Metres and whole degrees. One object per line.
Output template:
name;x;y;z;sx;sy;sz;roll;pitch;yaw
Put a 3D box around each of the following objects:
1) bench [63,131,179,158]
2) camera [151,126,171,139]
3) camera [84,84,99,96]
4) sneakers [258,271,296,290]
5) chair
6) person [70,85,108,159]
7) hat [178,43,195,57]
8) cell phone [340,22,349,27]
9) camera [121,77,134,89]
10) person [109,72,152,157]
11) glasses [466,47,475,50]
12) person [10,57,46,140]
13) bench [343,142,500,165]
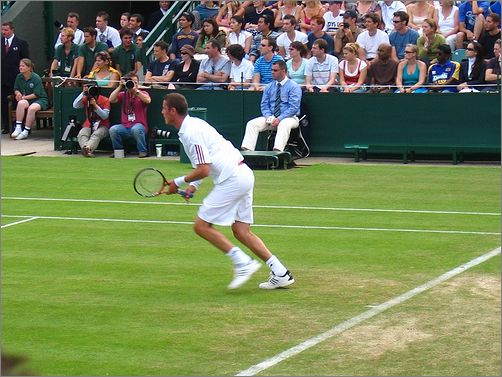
bench;-3.029;-0.960;21.691;3.105;0.551;0.442;1;12;14
camera;-2.077;-1.309;21.086;0.359;0.156;0.290;7;12;13
camera;-3.561;-2.225;20.638;0.252;0.220;0.200;2;1;-8
sneakers;0.374;1.214;11.863;0.590;0.206;0.169;-5;24;8
chair;0.473;-1.420;20.084;1.534;1.546;1.031;6;0;-5
person;-3.663;-1.553;21.018;0.852;1.302;0.953;2;1;-9
hat;-1.439;-3.217;20.987;0.267;0.157;0.346;0;-19;33
cell phone;2.167;-3.829;21.082;0.209;0.135;0.101;-1;4;-12
camera;-2.719;-2.395;20.484;0.336;0.162;0.288;3;6;0
person;-2.763;-1.644;20.905;0.817;1.552;0.865;3;1;34
glasses;4.691;-3.020;19.508;0.098;0.055;0.217;1;1;-32
person;-5.525;-2.250;22.989;0.848;1.550;0.657;2;1;-18
bench;3.715;-0.761;19.854;3.342;0.414;1.079;2;1;8
